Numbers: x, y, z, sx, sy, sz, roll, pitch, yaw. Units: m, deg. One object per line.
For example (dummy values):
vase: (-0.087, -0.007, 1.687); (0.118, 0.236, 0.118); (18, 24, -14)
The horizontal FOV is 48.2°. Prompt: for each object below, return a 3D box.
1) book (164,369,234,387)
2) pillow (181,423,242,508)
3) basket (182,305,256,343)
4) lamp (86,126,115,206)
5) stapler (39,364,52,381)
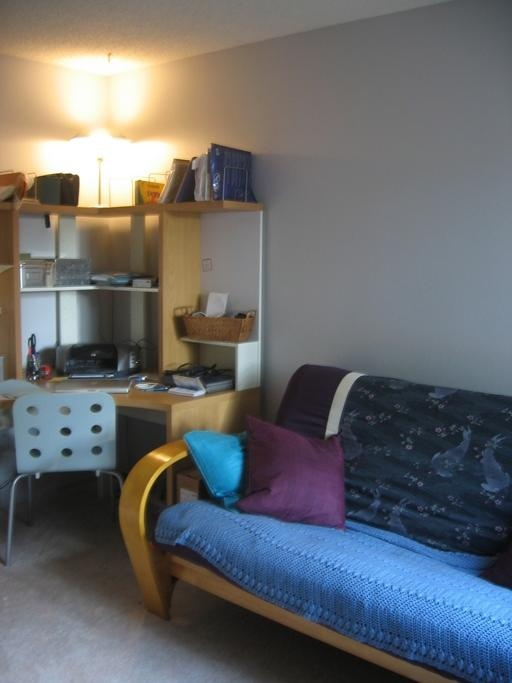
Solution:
book: (-0.264, 0.174, 2.711); (0.161, 0.037, 0.157); (3, 7, 44)
pillow: (-0.161, 0.463, 2.058); (0.235, 0.219, 0.072); (13, -38, -37)
basket: (-0.186, -0.079, 2.827); (0.335, 0.127, 0.152); (5, 6, 32)
lamp: (-0.901, -0.999, 3.323); (0.148, 0.392, 0.314); (0, 6, -14)
stapler: (-1.077, 0.162, 2.949); (0.072, 0.071, 0.069); (4, 10, 7)
